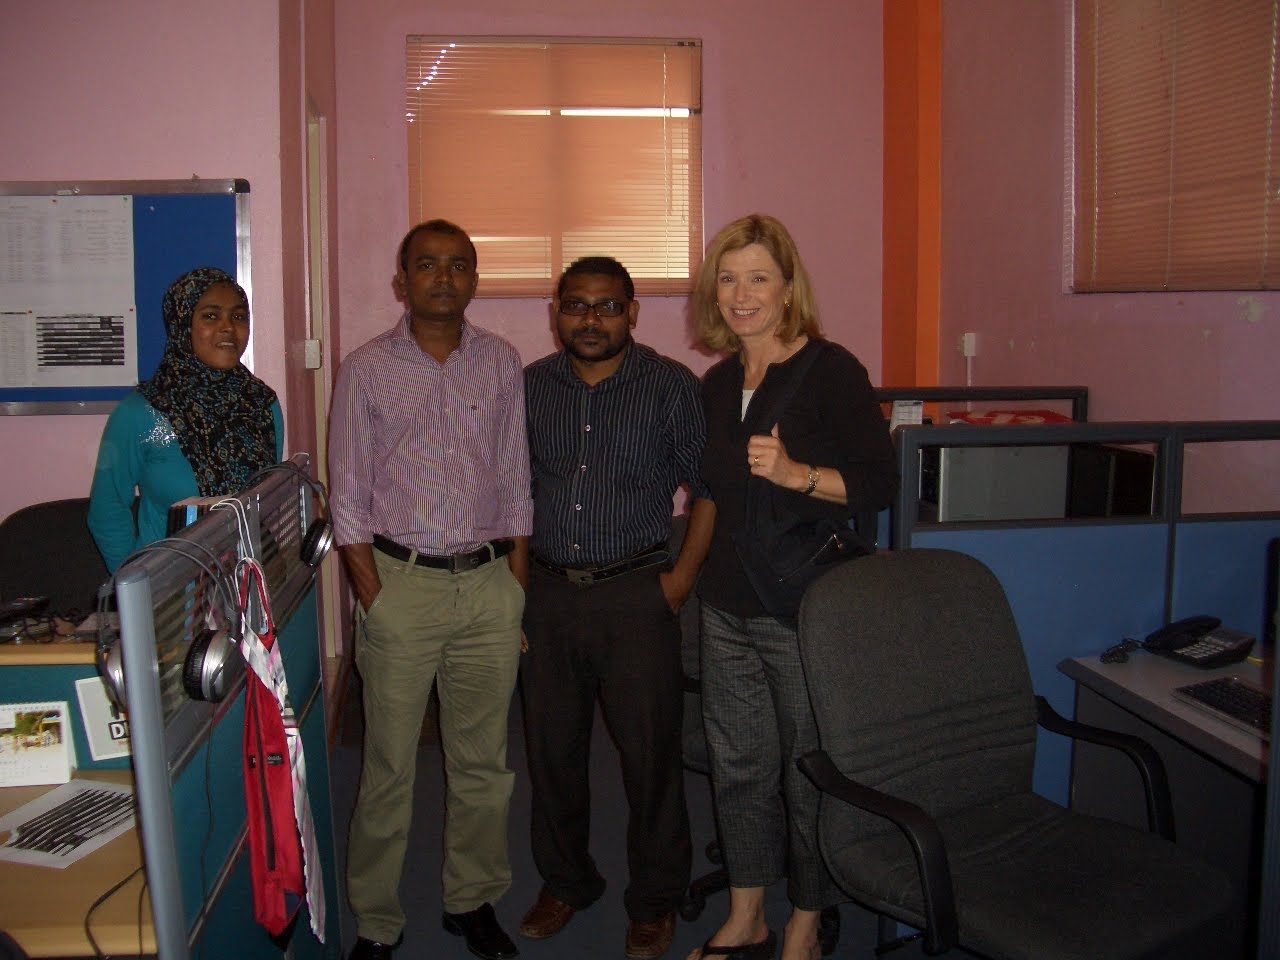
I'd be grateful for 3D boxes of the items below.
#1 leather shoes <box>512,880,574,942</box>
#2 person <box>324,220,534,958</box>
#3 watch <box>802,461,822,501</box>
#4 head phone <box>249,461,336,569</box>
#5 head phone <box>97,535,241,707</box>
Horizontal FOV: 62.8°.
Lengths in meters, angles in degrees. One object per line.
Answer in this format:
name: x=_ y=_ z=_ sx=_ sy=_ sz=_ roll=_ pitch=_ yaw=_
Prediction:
leather shoes: x=-0.270 y=1.273 z=3.092 sx=0.086 sy=0.090 sz=0.201 roll=-1 pitch=-6 yaw=19
person: x=-0.569 y=0.327 z=2.933 sx=0.549 sy=2.058 sz=0.320 roll=-2 pitch=8 yaw=-7
watch: x=0.435 y=0.000 z=2.625 sx=0.022 sy=0.045 sz=0.058 roll=13 pitch=-5 yaw=30
head phone: x=-0.815 y=0.084 z=2.457 sx=0.271 sy=0.286 sz=0.103 roll=0 pitch=1 yaw=-7
head phone: x=-0.831 y=0.262 z=1.847 sx=0.232 sy=0.314 sz=0.110 roll=-6 pitch=24 yaw=-25
